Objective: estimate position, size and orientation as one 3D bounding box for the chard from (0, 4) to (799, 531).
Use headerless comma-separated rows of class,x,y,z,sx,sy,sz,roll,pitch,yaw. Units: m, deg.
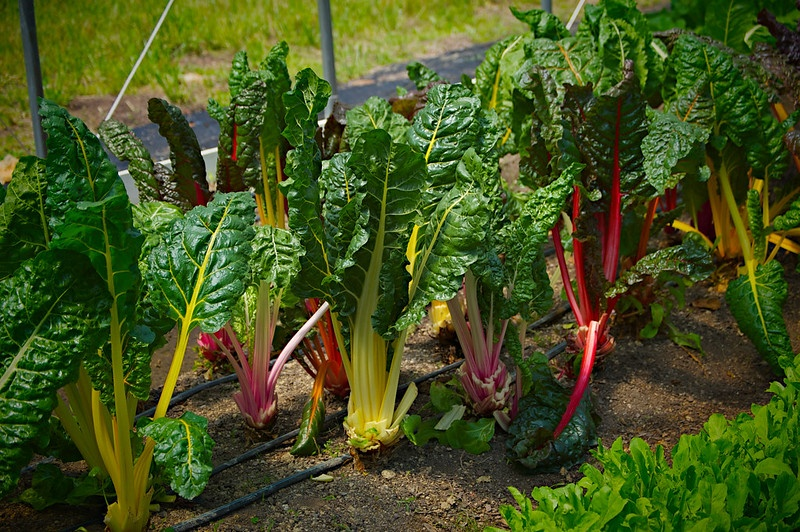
chard,-0.027,-0.023,3.186,3.335,1.612,1.128,-14,28,-21
